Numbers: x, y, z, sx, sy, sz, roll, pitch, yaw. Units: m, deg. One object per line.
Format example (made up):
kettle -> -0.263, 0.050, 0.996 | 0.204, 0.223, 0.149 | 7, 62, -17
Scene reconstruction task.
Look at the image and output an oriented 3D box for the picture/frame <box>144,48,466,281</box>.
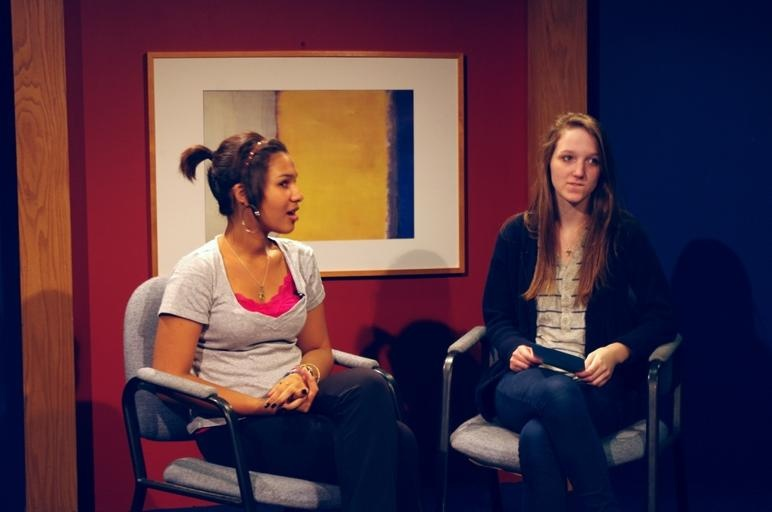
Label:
picture/frame -> -0.411, -0.451, 3.109 | 1.060, 0.772, 0.035 | -1, 7, -4
